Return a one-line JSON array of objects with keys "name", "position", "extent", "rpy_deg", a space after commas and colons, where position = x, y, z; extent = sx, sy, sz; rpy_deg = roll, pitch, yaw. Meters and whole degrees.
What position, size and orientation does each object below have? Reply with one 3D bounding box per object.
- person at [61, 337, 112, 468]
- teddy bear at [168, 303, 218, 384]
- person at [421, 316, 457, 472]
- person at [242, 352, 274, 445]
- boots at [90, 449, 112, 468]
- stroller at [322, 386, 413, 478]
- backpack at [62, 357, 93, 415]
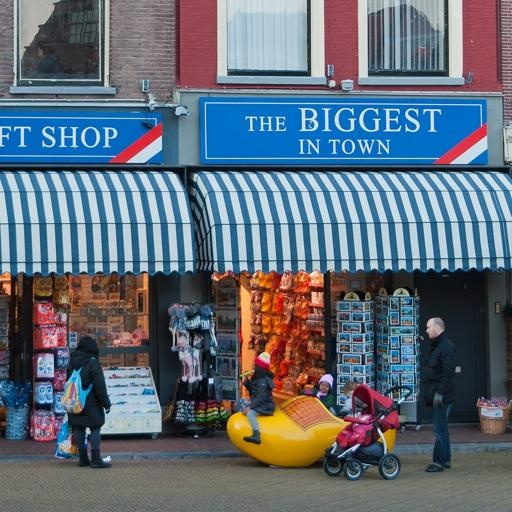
[{"name": "person", "position": [-2.245, 1.951, 15.426], "extent": [0.594, 1.718, 0.509], "rpy_deg": [0, 2, 45]}, {"name": "teddy bear", "position": [-0.956, 1.343, 17.898], "extent": [0.682, 1.230, 0.366], "rpy_deg": [-3, -2, -7]}, {"name": "person", "position": [2.402, 1.852, 15.460], "extent": [0.433, 2.015, 0.727], "rpy_deg": [1, -2, 6]}, {"name": "person", "position": [0.035, 1.903, 15.740], "extent": [0.471, 1.176, 0.427], "rpy_deg": [3, 3, -22]}, {"name": "boots", "position": [-2.025, 2.689, 15.408], "extent": [0.339, 0.319, 0.176], "rpy_deg": [-2, 3, -20]}, {"name": "stroller", "position": [1.453, 2.263, 15.129], "extent": [1.085, 1.194, 0.741], "rpy_deg": [4, -5, -33]}, {"name": "backpack", "position": [-2.342, 1.763, 15.271], "extent": [0.352, 0.611, 0.254], "rpy_deg": [-4, -2, 35]}]
